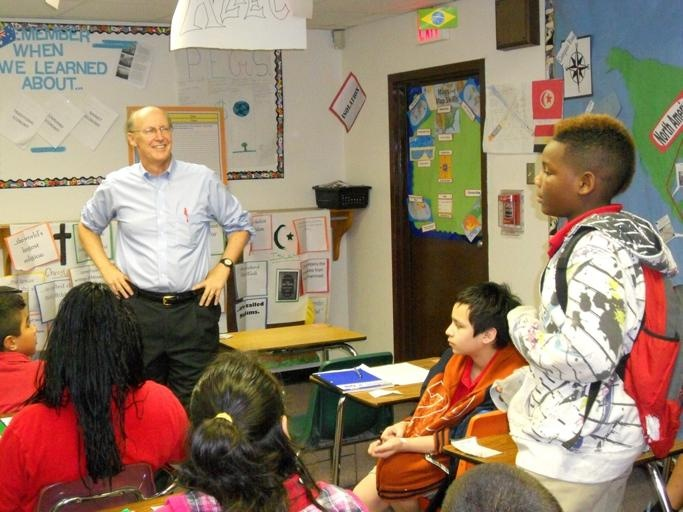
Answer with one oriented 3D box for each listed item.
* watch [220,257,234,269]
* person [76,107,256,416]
[{"bbox_3d":[-0.635,0.041,2.935,0.057,0.054,0.055,9,-2,-33],"label":"watch"},{"bbox_3d":[-0.991,0.331,2.987,0.978,2.262,0.610,0,8,-1],"label":"person"}]
